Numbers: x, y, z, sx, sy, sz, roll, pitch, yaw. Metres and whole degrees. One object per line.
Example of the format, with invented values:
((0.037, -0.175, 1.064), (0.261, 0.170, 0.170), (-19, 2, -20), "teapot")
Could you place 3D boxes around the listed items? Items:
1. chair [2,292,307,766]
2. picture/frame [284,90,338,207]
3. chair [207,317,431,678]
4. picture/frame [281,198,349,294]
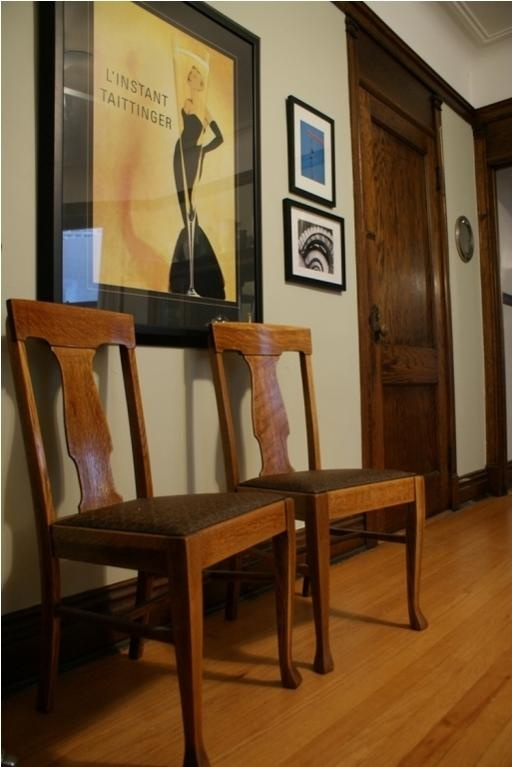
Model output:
((-0.127, 0.242, 1.523), (0.661, 1.319, 0.622), (-1, -1, 29), "chair")
((0.230, -0.919, 2.266), (0.022, 0.393, 0.338), (-2, -3, 39), "picture/frame")
((0.161, 0.251, 1.544), (0.496, 0.949, 0.509), (-8, -6, 35), "chair")
((0.247, -0.530, 2.265), (0.327, 0.319, 0.086), (0, 4, -42), "picture/frame")
